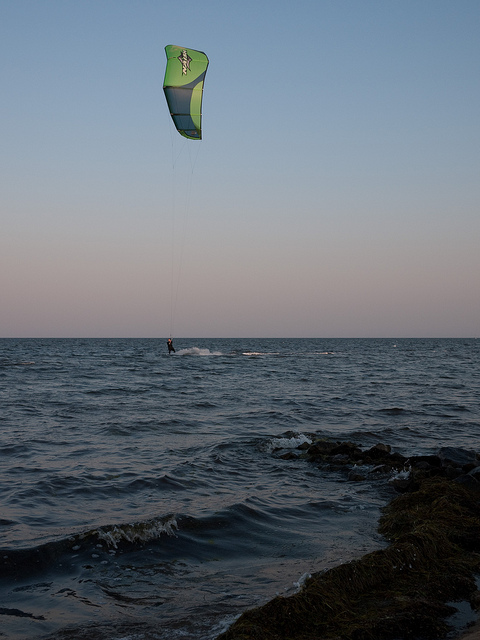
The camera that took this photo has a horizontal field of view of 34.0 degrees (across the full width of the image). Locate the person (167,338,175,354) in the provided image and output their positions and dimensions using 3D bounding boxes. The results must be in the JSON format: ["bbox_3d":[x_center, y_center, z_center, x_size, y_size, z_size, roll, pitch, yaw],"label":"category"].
[{"bbox_3d":[-5.700,2.207,65.563,0.700,1.569,0.506,-8,4,-15],"label":"person"}]

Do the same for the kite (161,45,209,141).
[{"bbox_3d":[-1.167,-5.027,17.137,0.891,1.507,1.713,1,0,-1],"label":"kite"}]
